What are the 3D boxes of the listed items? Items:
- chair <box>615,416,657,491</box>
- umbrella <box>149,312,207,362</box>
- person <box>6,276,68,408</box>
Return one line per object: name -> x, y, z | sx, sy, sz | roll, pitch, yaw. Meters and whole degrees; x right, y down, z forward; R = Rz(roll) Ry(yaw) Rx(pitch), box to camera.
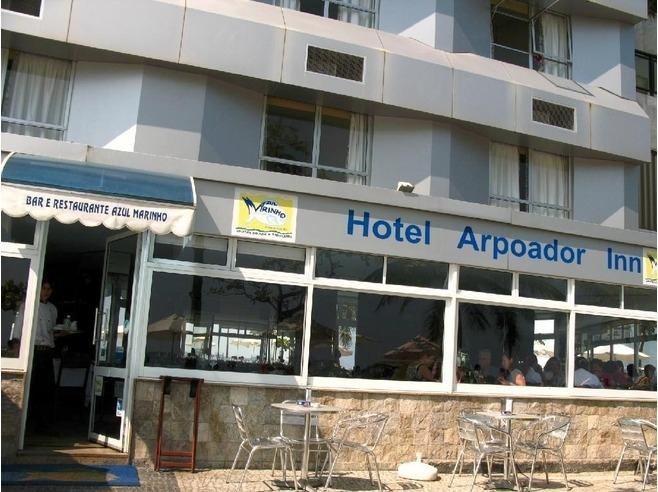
chair -> 6.283, 4.308, 16.287 | 0.924, 1.354, 1.099 | 5, -12, -7
umbrella -> -2.937, 1.658, 14.894 | 0.778, 0.760, 0.792 | 5, -3, -10
person -> -5.643, 2.084, 15.193 | 0.869, 3.066, 0.912 | -11, -19, 40
